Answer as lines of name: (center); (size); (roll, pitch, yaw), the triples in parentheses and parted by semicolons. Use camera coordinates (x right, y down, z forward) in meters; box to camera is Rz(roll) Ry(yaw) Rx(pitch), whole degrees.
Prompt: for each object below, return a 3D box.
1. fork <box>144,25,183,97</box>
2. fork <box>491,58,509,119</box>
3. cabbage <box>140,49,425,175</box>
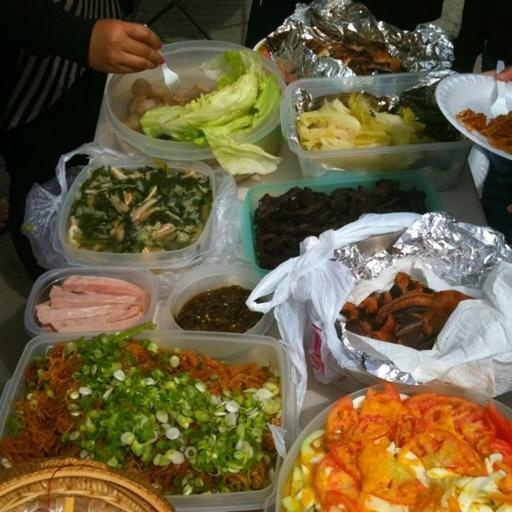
fork: (-0.434, -0.899, 2.211); (0.047, 0.030, 0.239); (-30, 88, 10)
fork: (0.932, -0.630, 1.765); (0.068, 0.036, 0.235); (2, 82, 7)
cabbage: (-0.058, -0.576, 2.263); (0.700, 0.276, 0.624); (-32, 77, -5)
